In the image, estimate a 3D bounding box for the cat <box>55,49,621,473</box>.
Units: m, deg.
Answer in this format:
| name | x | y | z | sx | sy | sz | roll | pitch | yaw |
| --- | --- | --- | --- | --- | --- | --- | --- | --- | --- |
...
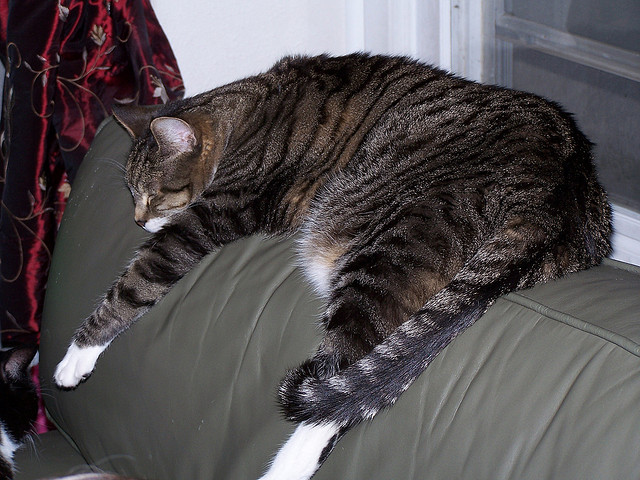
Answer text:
| name | x | y | z | sx | sy | sz | roll | pitch | yaw |
| --- | --- | --- | --- | --- | --- | --- | --- | --- | --- |
| cat | 0.101 | -0.075 | 1.368 | 0.800 | 0.924 | 0.279 | 5 | -42 | 24 |
